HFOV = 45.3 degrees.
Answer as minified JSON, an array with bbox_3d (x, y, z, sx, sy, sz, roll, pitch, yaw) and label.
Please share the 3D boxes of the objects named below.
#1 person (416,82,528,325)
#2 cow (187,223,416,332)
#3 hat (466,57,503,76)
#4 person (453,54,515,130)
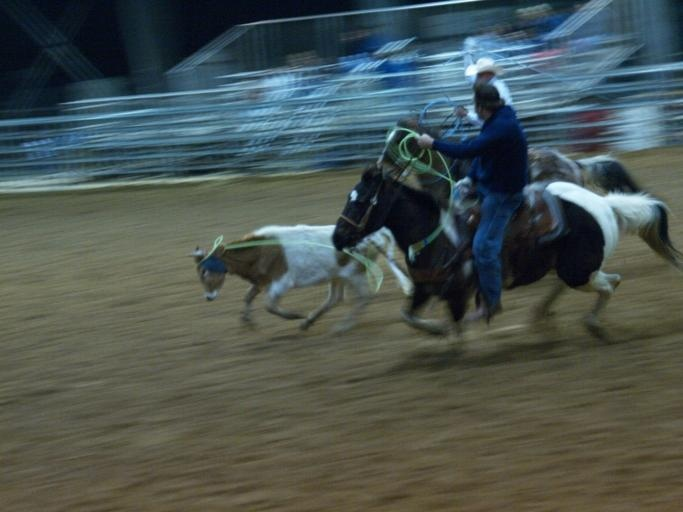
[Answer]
[{"bbox_3d":[1.336,-0.485,7.701,0.641,2.302,0.577,-26,28,-32],"label":"person"},{"bbox_3d":[-0.407,0.240,8.418,2.544,0.910,0.532,0,-1,-28],"label":"cow"},{"bbox_3d":[1.293,-1.725,7.464,0.314,0.149,0.291,-4,18,4],"label":"hat"},{"bbox_3d":[1.338,-1.680,7.626,0.607,0.270,0.891,1,57,13],"label":"person"}]
